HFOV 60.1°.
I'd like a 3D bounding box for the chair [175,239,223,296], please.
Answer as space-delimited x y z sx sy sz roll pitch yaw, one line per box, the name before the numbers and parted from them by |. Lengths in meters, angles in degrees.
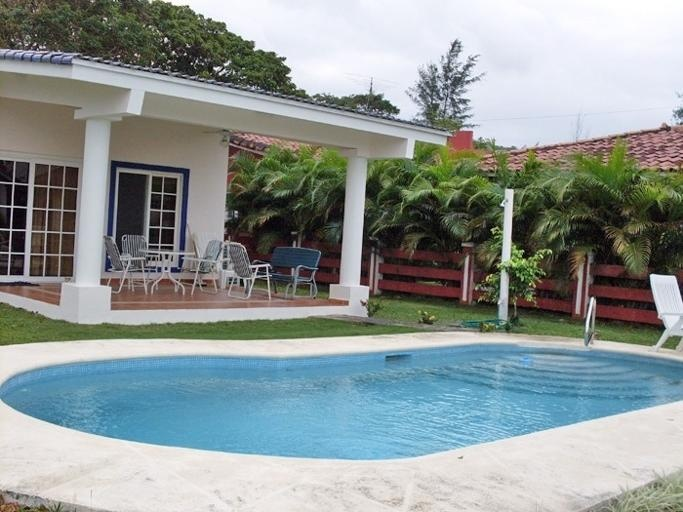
chair | -2.973 0.208 12.548 0.784 1.133 3.215 2 -1 -15
